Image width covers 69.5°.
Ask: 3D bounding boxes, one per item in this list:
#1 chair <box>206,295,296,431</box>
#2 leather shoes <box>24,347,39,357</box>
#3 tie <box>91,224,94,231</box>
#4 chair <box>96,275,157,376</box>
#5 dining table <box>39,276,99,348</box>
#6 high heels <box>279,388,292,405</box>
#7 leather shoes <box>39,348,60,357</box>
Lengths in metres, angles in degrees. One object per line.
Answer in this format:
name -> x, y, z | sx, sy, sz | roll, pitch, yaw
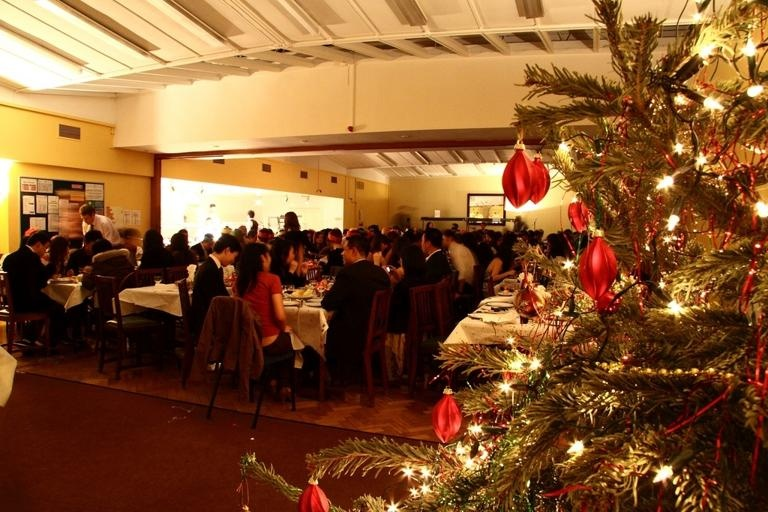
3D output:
chair -> -1.030, 0.772, 4.322 | 0.592, 0.969, 0.622 | -1, -1, 16
leather shoes -> -3.832, 1.048, 6.049 | 0.131, 0.125, 0.125 | 5, 4, -15
tie -> -4.212, -0.423, 8.021 | 0.030, 0.120, 0.127 | 7, 0, -23
chair -> -2.522, 0.666, 5.533 | 0.616, 0.942, 0.572 | 1, -2, -39
dining table -> -3.631, 0.577, 6.397 | 0.760, 0.358, 0.748 | -25, -12, -39
high heels -> -0.846, 1.193, 4.749 | 0.076, 0.159, 0.080 | -1, 11, -3
leather shoes -> -3.664, 1.068, 6.095 | 0.198, 0.112, 0.133 | 5, -6, 44
